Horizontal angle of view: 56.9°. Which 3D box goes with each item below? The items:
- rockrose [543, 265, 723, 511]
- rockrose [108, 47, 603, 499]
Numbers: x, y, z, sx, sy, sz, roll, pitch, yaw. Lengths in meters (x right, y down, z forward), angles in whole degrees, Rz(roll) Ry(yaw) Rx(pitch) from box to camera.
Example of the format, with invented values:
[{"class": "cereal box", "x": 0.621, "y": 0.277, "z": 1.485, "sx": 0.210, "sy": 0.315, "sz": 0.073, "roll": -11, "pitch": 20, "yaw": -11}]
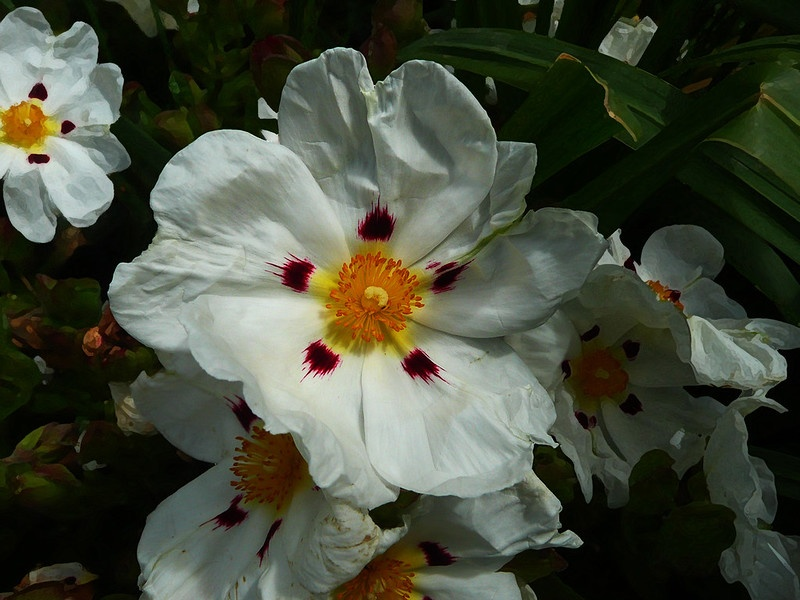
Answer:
[{"class": "rockrose", "x": 0.287, "y": 0.094, "z": 0.941, "sx": 0.262, "sy": 0.097, "sz": 0.268, "roll": 36, "pitch": 75, "yaw": -19}, {"class": "rockrose", "x": -0.017, "y": -0.013, "z": 0.750, "sx": 0.459, "sy": 0.180, "sz": 0.414, "roll": 42, "pitch": 70, "yaw": 10}]
